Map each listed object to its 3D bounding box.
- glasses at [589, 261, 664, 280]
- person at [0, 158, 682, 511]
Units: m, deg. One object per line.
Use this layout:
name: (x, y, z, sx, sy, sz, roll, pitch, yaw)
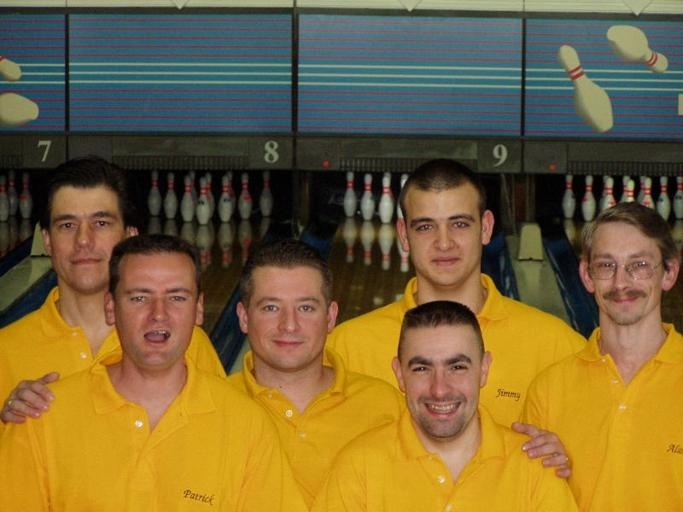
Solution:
glasses: (0.913, 0.048, 2.087, 0.193, 0.063, 0.068, -3, -1, 24)
person: (0.019, 0.268, 2.404, 1.469, 0.848, 1.374, 0, -3, 2)
